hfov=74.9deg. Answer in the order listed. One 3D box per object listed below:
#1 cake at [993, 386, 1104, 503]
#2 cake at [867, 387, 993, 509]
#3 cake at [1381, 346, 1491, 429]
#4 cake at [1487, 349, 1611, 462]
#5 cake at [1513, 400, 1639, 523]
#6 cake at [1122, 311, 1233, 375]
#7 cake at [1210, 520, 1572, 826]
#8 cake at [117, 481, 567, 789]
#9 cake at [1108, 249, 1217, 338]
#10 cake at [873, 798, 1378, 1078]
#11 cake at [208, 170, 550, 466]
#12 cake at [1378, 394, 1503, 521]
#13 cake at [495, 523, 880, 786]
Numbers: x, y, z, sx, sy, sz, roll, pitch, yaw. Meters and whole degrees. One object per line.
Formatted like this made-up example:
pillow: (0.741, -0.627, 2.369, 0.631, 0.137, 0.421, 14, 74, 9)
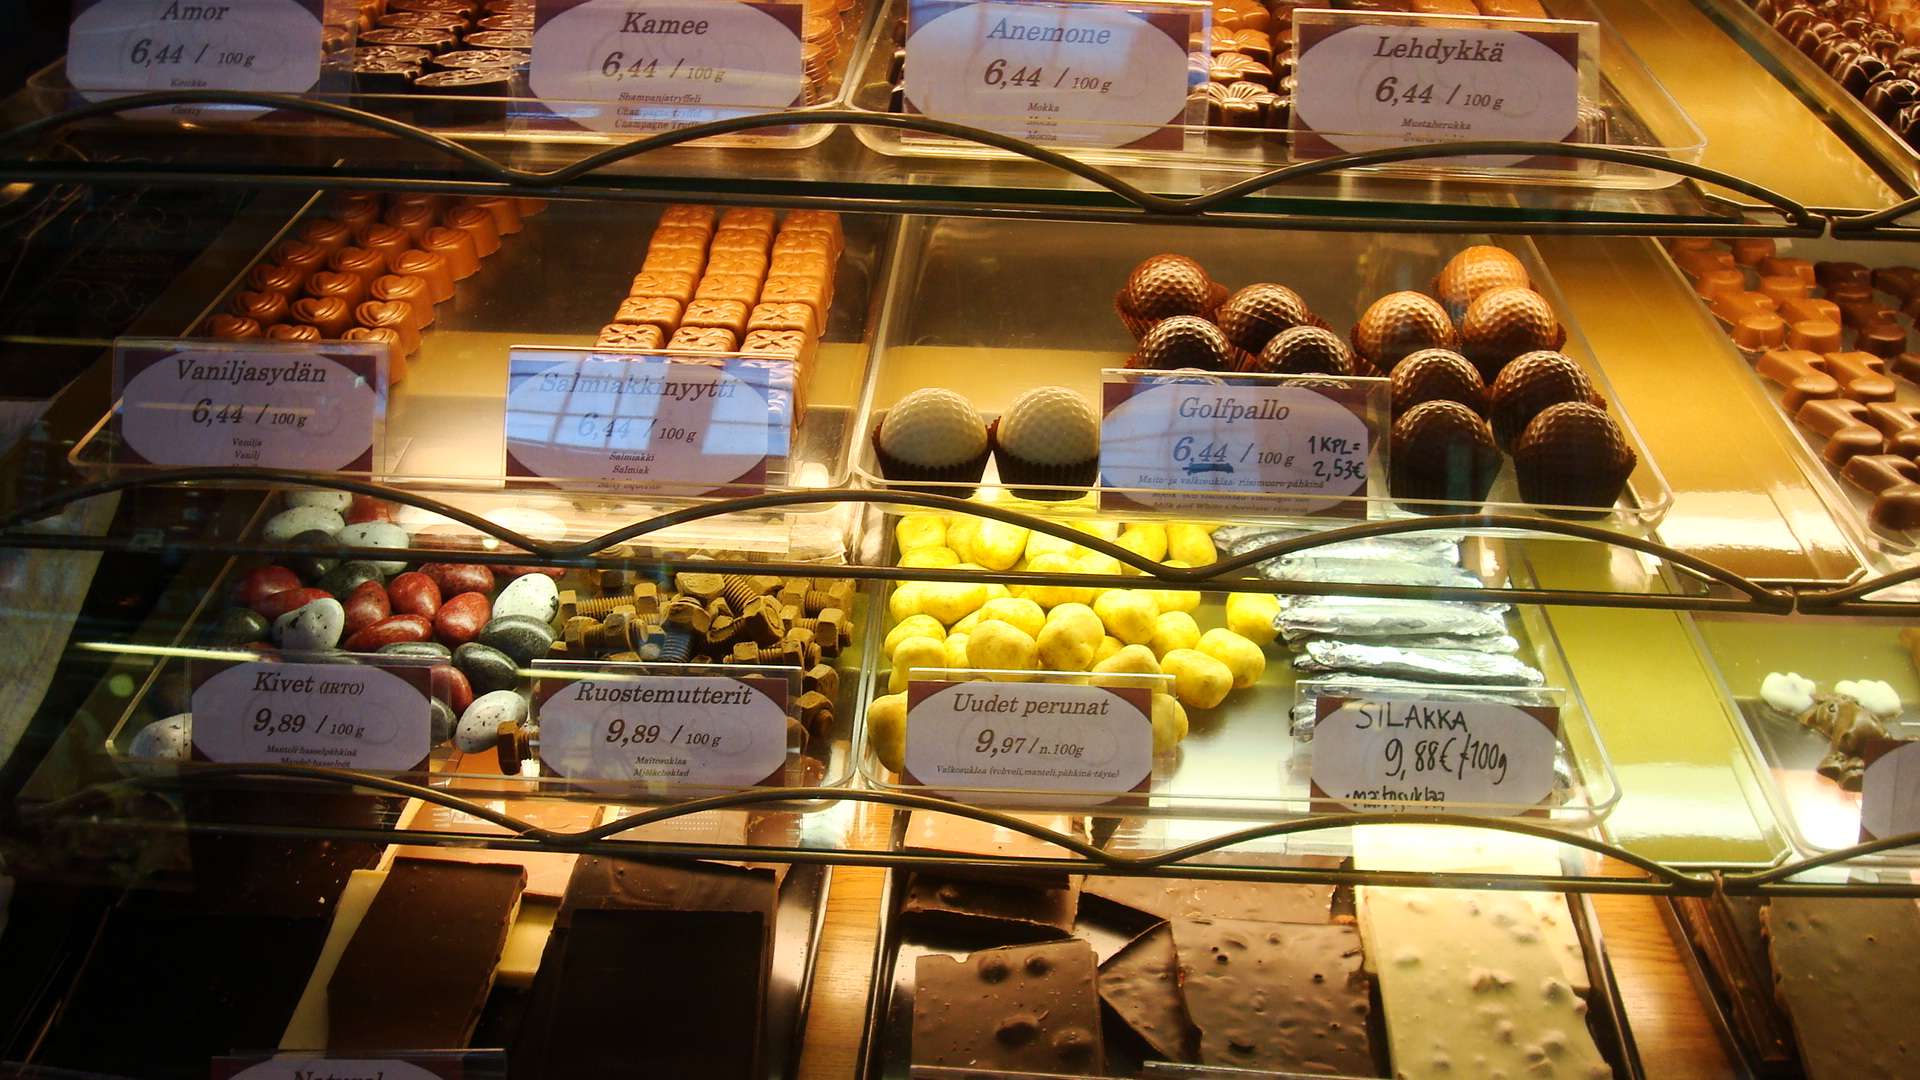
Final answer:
cake: (0.110, -0.118, 1.604, 0.149, 0.114, 0.146, 6, 24, 12)
cake: (-0.042, -0.114, 1.661, 0.163, 0.111, 0.131, -9, 41, -12)
cake: (0.610, -0.208, 1.657, 0.138, 0.099, 0.108, 12, 38, 4)
cake: (0.762, -0.193, 1.713, 0.158, 0.124, 0.137, -21, 43, -40)
cake: (0.760, -0.104, 1.629, 0.157, 0.116, 0.139, -9, 38, -1)
cake: (0.290, -0.261, 1.649, 0.133, 0.100, 0.169, 1, -1, 10)
cake: (0.624, 0.176, 1.772, 0.500, 0.380, 0.508, 1, -1, 5)
cake: (-0.826, 0.122, 1.842, 0.503, 0.112, 0.471, 0, 51, -3)
cake: (0.302, -0.360, 1.900, 0.156, 0.125, 0.137, -2, -23, -2)
cake: (0.255, 0.635, 1.873, 0.710, 0.243, 0.261, 1, -1, -3)
cake: (-0.916, -0.375, 1.981, 0.309, 0.087, 0.423, 8, 40, 7)
cake: (0.608, -0.102, 1.645, 0.164, 0.134, 0.142, 1, 3, 5)
cake: (-0.400, 0.188, 1.779, 0.488, 0.284, 0.332, 1, -1, -3)
